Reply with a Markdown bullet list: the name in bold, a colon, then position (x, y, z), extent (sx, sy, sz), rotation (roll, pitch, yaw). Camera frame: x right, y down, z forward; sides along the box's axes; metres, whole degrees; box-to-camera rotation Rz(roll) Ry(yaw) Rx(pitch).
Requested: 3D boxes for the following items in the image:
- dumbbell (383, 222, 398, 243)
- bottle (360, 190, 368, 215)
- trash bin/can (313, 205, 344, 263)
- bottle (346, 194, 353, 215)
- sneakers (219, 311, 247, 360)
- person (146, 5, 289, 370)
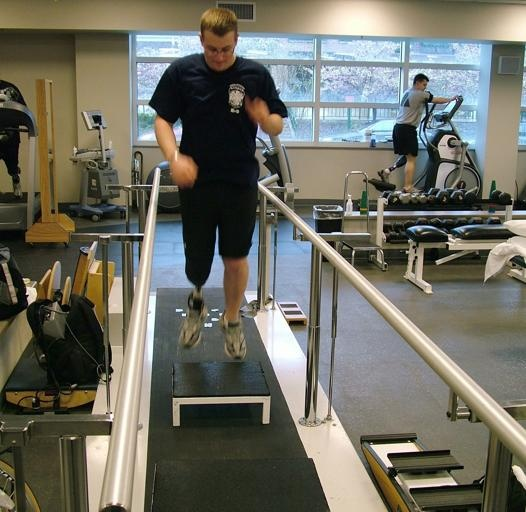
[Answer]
- **dumbbell**: position (1.597, -0.291, 6.262), extent (0.174, 0.209, 0.262), rotation (2, 14, 9)
- **bottle**: position (1.255, -0.675, 6.208), extent (0.091, 0.317, 0.484), rotation (2, 14, 10)
- **trash bin/can**: position (0.786, -0.427, 5.918), extent (0.341, 0.315, 0.605), rotation (-1, 14, 1)
- **bottle**: position (1.114, -0.688, 6.445), extent (0.097, 0.236, 0.387), rotation (2, 15, 11)
- **sneakers**: position (-0.129, 0.300, 2.181), extent (0.084, 0.108, 0.280), rotation (-5, 55, -8)
- **person**: position (-0.152, -0.243, 2.007), extent (0.536, 1.380, 0.311), rotation (-4, 13, -14)
